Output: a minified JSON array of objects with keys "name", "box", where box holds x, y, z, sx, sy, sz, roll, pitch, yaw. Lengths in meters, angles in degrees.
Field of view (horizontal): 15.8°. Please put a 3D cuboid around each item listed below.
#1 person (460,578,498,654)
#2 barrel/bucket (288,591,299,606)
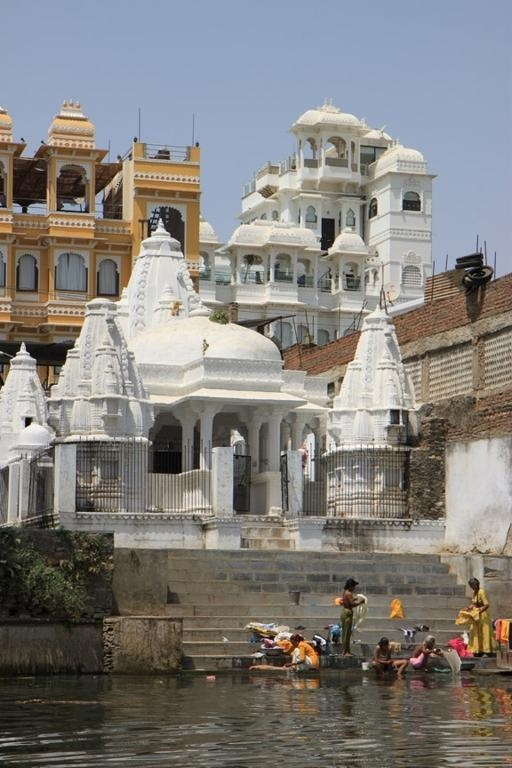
[{"name":"person","box":[2.626,2.829,22.212,0.441,0.916,0.813,-3,-9,19]},{"name":"barrel/bucket","box":[0.480,2.790,23.897,0.111,0.176,0.296,1,-9,-9]}]
